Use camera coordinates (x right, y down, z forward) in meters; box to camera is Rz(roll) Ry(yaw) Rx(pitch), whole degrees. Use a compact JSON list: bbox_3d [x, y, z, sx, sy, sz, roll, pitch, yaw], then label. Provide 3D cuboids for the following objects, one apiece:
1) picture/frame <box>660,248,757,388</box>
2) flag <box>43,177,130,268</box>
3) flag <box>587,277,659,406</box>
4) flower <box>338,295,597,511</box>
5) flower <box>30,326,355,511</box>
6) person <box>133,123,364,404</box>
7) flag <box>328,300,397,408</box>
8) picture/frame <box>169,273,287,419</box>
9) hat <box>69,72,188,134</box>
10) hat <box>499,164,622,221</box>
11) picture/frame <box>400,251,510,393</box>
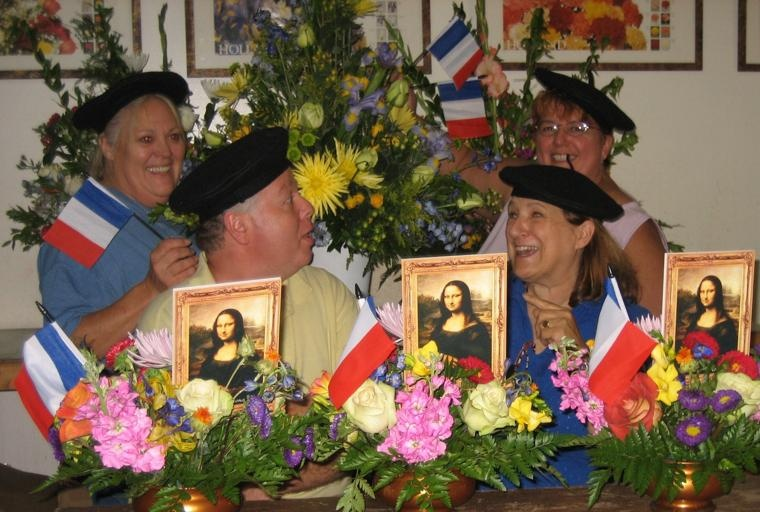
[{"bbox_3d":[0.951,0.185,2.332,0.393,0.507,0.038,2,-3,-3],"label":"picture/frame"},{"bbox_3d":[-1.114,-0.122,3.090,0.318,0.258,0.032,-52,14,-21],"label":"flag"},{"bbox_3d":[0.679,0.273,2.209,0.185,0.352,0.110,-1,40,8],"label":"flag"},{"bbox_3d":[0.218,0.450,2.155,0.592,0.567,0.251,-6,-34,-2],"label":"flower"},{"bbox_3d":[-0.639,0.443,2.182,0.512,0.267,0.512,-7,-10,-17],"label":"flower"},{"bbox_3d":[-0.423,-0.026,2.724,0.463,0.837,0.993,4,19,20],"label":"person"},{"bbox_3d":[-0.064,0.260,2.207,0.214,0.238,0.118,-23,13,-11],"label":"flag"},{"bbox_3d":[-0.413,0.258,2.182,0.404,0.430,0.031,-3,5,-10],"label":"picture/frame"},{"bbox_3d":[-0.976,-0.627,3.146,0.345,0.098,0.262,-29,9,-12],"label":"hat"},{"bbox_3d":[0.626,-0.225,2.774,0.270,0.079,0.239,13,5,-3],"label":"hat"},{"bbox_3d":[0.207,0.189,2.251,0.402,0.457,0.024,0,-2,-1],"label":"picture/frame"}]
